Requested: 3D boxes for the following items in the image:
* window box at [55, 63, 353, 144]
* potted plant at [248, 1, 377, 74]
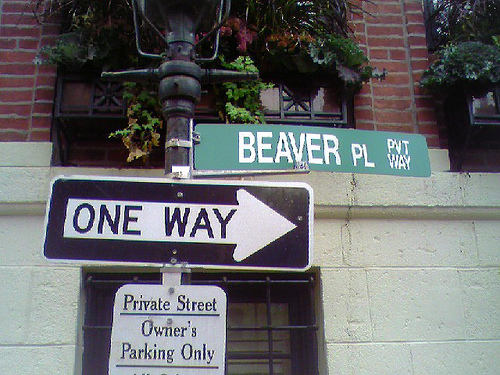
[{"bbox_3d":[-0.597,-1.016,7.162,3.190,0.900,0.480,-3,-6,-7],"label":"window box"},{"bbox_3d":[0.688,-1.808,7.345,1.412,1.022,0.737,-3,-6,-1],"label":"potted plant"}]
